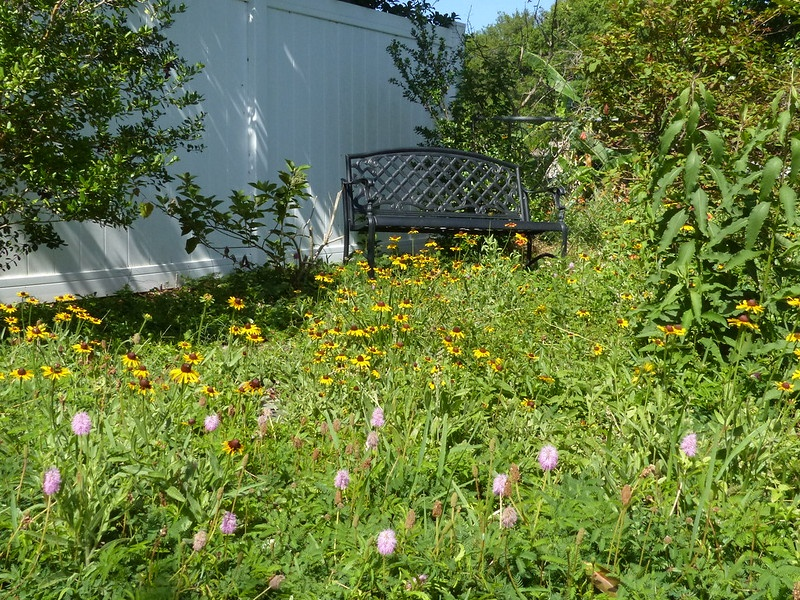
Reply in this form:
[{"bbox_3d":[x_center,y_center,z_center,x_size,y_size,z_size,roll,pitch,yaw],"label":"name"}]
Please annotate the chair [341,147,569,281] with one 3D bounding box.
[{"bbox_3d":[0.560,-0.923,6.729,2.189,1.447,0.928,-2,1,-23],"label":"chair"}]
